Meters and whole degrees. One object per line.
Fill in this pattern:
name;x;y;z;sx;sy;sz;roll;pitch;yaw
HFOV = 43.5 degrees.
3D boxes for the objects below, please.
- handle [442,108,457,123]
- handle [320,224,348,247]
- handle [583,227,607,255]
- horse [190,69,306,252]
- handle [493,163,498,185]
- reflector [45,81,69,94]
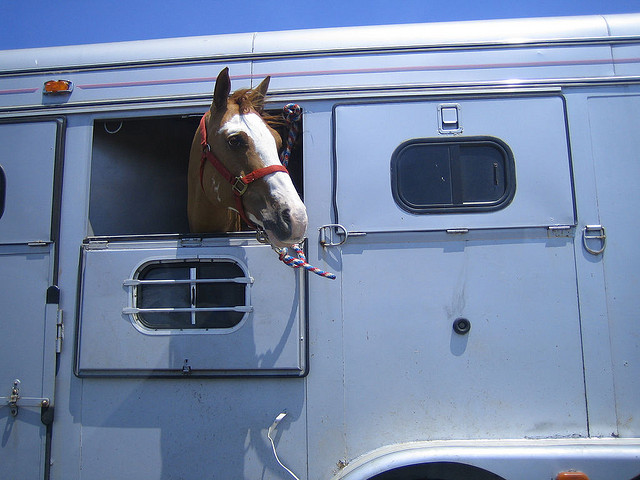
handle;0.967;-0.935;6.031;0.108;0.102;0.042;0;-28;4
handle;0.097;-0.033;5.991;0.207;0.143;0.075;-3;-28;8
handle;2.023;0.015;5.928;0.160;0.265;0.041;1;-15;0
horse;-0.571;-0.607;5.904;1.134;1.265;0.436;7;1;41
handle;1.308;-0.496;6.005;0.031;0.135;0.078;-5;-29;12
reflector;-2.035;-1.175;6.183;0.121;0.093;0.051;-14;3;-19
